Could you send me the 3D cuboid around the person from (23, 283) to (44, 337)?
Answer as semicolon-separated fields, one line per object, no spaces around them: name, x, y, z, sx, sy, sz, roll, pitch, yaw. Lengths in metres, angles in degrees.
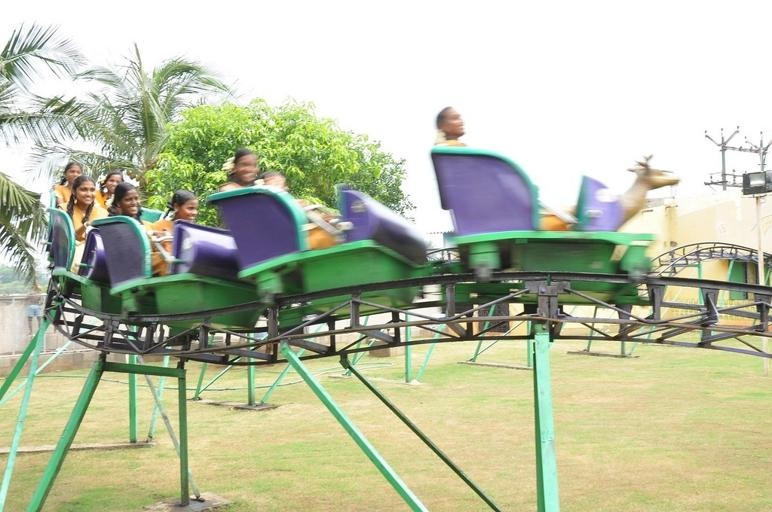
person;-10.186;1.678;19.820;0.397;1.214;0.684;3;-4;-25
